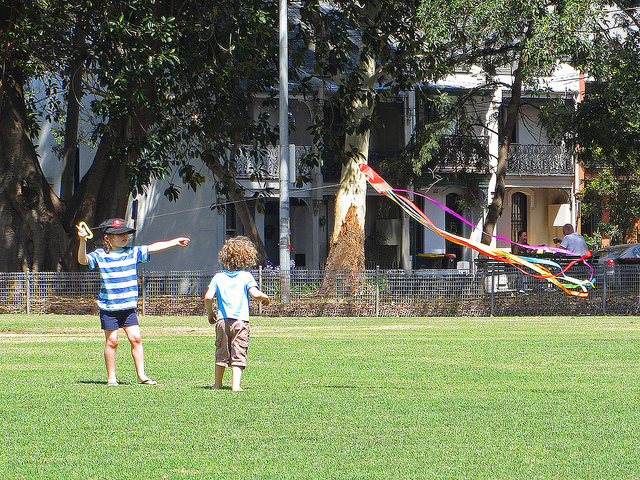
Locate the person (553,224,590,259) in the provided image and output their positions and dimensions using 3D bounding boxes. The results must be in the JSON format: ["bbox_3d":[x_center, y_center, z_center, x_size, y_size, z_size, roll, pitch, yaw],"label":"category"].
[{"bbox_3d":[7.229,0.005,41.052,0.712,1.408,0.785,-22,21,-35],"label":"person"}]

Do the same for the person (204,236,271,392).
[{"bbox_3d":[-1.608,1.355,26.197,1.002,2.878,0.447,0,-1,-3],"label":"person"}]

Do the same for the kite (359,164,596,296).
[{"bbox_3d":[4.534,-0.388,42.768,5.881,1.204,1.502,26,34,9],"label":"kite"}]
